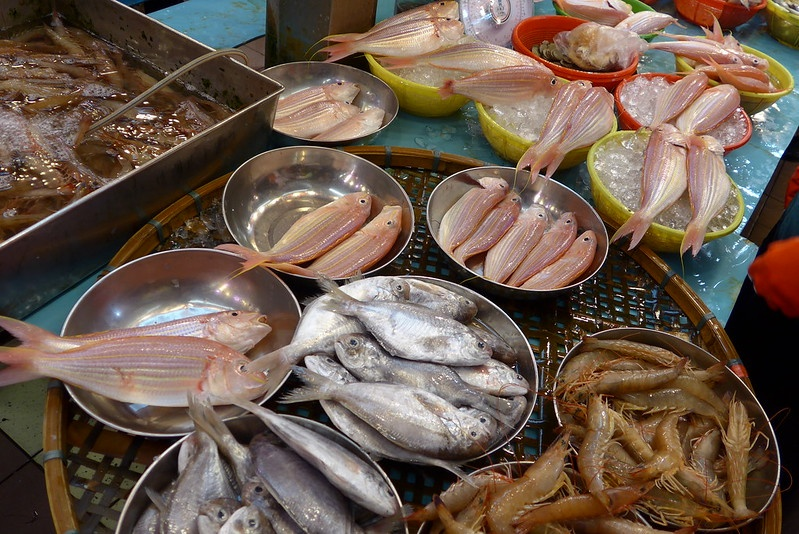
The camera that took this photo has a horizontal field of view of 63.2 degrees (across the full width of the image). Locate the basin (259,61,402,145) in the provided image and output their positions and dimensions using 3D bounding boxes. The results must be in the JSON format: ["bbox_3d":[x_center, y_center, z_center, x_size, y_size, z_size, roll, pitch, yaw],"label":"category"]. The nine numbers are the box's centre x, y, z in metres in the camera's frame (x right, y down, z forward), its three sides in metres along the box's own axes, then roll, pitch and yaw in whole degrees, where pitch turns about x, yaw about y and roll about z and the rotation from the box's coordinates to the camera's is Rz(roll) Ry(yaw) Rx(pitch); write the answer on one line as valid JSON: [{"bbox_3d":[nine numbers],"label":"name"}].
[{"bbox_3d":[-0.449,-1.203,4.250,0.626,0.191,0.722,-7,49,-13],"label":"basin"}]
